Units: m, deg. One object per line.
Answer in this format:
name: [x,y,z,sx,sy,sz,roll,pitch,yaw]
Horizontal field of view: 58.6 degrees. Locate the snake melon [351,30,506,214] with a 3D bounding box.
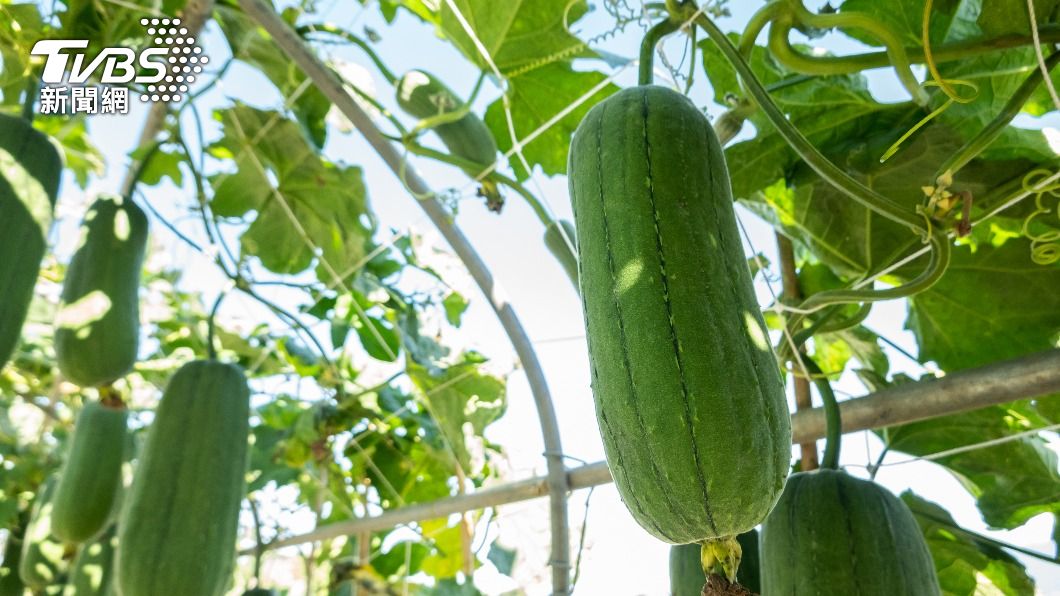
snake melon: [-0.410,-0.675,3.958,0.196,0.263,0.903,-45,-63,7]

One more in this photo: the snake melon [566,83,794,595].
snake melon: [0.535,0.115,3.374,0.589,1.721,0.547,-12,-8,11]

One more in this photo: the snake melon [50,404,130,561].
snake melon: [-1.989,0.824,4.356,0.323,0.673,0.266,15,-27,-8]

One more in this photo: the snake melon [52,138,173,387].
snake melon: [-1.714,-0.119,3.907,0.273,0.898,0.279,21,-15,-19]
